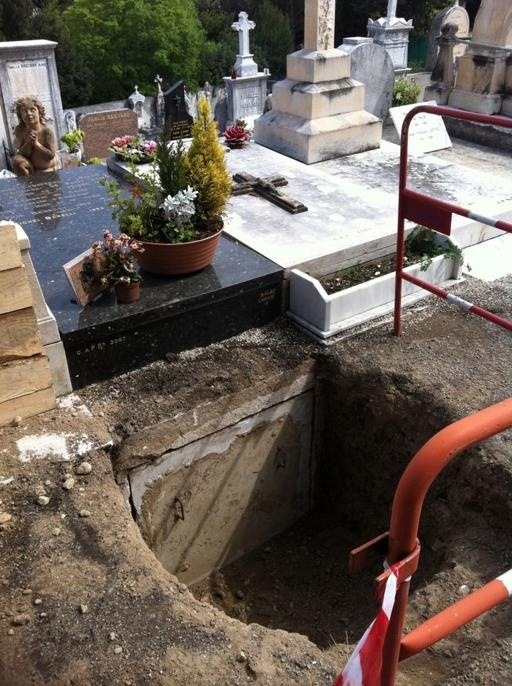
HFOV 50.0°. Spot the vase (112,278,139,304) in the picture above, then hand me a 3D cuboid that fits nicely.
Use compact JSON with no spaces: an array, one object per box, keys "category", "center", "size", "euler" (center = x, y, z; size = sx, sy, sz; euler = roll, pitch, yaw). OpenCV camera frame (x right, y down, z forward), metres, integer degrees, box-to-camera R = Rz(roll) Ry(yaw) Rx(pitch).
[{"category":"vase","center":[-0.867,-0.351,3.704],"size":[0.164,0.121,0.162],"euler":[-20,42,-29]}]

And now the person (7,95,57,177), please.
[{"category":"person","center":[-2.589,-2.401,6.351],"size":[0.484,0.823,0.527],"euler":[-7,28,-18]}]

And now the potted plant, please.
[{"category":"potted plant","center":[-0.632,-1.040,4.056],"size":[0.751,1.002,0.933],"euler":[20,36,27]}]

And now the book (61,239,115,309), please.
[{"category":"book","center":[-1.177,-0.467,3.680],"size":[0.181,0.405,0.348],"euler":[12,28,18]}]
